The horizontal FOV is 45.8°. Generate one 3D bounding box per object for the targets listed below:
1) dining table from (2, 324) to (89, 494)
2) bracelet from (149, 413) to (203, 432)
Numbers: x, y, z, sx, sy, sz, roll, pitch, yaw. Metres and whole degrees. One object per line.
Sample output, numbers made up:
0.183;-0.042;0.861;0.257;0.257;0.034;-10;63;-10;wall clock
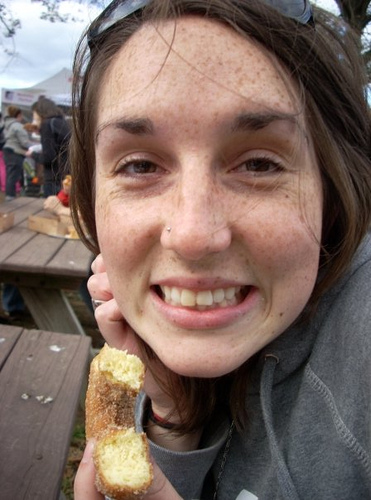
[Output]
-0.503;0.546;1.554;0.231;0.188;0.782;5;20;-5;dining table
-0.025;0.559;1.422;0.088;0.022;0.085;10;-6;9;bracelet
